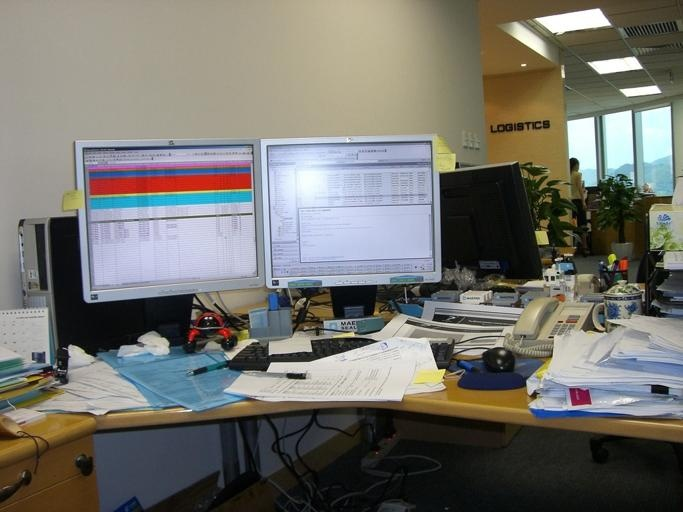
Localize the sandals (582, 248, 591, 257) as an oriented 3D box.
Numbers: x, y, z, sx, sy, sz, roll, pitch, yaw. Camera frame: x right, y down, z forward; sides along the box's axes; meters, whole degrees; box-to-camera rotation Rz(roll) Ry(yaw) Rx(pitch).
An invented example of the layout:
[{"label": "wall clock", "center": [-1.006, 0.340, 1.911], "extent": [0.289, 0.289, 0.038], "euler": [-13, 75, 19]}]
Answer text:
[{"label": "sandals", "center": [4.059, -0.051, 8.944], "extent": [0.050, 0.125, 0.122], "euler": [9, 0, 14]}]

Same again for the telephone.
[{"label": "telephone", "center": [0.598, 0.196, 1.558], "extent": [0.291, 0.086, 0.205], "euler": [-19, 17, -40]}]

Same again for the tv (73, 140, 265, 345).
[{"label": "tv", "center": [-0.548, -0.063, 1.690], "extent": [0.783, 0.543, 0.066], "euler": [-3, 2, -15]}]

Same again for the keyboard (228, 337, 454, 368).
[{"label": "keyboard", "center": [0.008, 0.276, 1.540], "extent": [0.621, 0.044, 0.219], "euler": [-4, 9, 5]}]

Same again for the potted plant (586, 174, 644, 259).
[{"label": "potted plant", "center": [4.072, -0.537, 7.971], "extent": [0.664, 1.324, 1.735], "euler": [-2, 10, 25]}]

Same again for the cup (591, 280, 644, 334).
[{"label": "cup", "center": [0.802, 0.161, 1.569], "extent": [0.132, 0.140, 0.285], "euler": [-1, 10, 28]}]

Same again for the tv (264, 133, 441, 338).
[{"label": "tv", "center": [0.035, -0.076, 1.765], "extent": [0.833, 0.701, 0.253], "euler": [-1, 5, -2]}]

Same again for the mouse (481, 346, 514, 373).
[{"label": "mouse", "center": [0.406, 0.268, 1.389], "extent": [0.080, 0.057, 0.057], "euler": [-3, 10, 13]}]

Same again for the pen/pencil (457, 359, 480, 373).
[{"label": "pen/pencil", "center": [0.339, 0.288, 1.416], "extent": [0.020, 0.015, 0.067], "euler": [-14, 13, -38]}]

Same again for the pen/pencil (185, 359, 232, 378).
[{"label": "pen/pencil", "center": [-0.365, 0.312, 1.487], "extent": [0.020, 0.018, 0.146], "euler": [-12, -1, 41]}]
